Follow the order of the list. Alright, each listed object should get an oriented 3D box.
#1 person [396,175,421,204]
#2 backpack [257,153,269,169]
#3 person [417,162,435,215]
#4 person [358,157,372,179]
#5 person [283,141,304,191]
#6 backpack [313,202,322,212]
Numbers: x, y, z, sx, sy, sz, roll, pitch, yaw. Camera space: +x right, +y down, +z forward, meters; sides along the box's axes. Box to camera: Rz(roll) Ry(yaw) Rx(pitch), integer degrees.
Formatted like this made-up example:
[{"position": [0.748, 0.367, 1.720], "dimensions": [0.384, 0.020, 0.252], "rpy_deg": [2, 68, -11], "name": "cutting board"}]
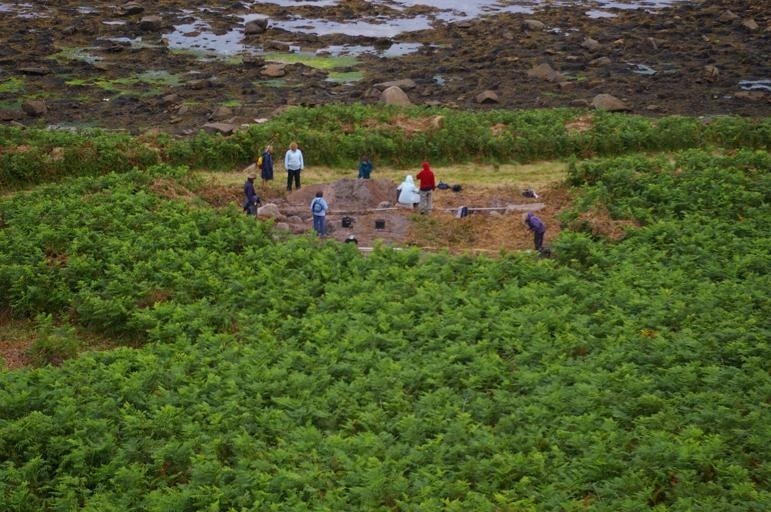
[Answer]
[{"position": [1.239, -3.528, 59.533], "dimensions": [1.282, 1.407, 0.827], "rpy_deg": [10, 32, 12], "name": "person"}, {"position": [-6.500, -5.123, 60.597], "dimensions": [0.422, 0.789, 0.615], "rpy_deg": [17, 36, -28], "name": "backpack"}, {"position": [2.073, -3.583, 58.369], "dimensions": [0.797, 2.580, 0.831], "rpy_deg": [-1, 25, -2], "name": "person"}, {"position": [-1.108, -4.730, 60.500], "dimensions": [0.655, 1.239, 1.158], "rpy_deg": [-1, 25, -1], "name": "person"}, {"position": [-4.907, -4.901, 60.604], "dimensions": [0.875, 2.612, 0.948], "rpy_deg": [-3, 25, -5], "name": "person"}, {"position": [-3.383, -2.508, 56.694], "dimensions": [0.332, 0.443, 0.430], "rpy_deg": [3, 32, 5], "name": "backpack"}]
